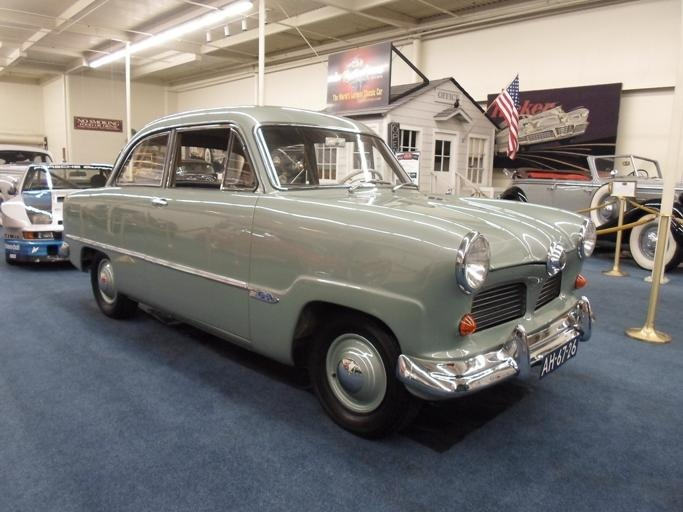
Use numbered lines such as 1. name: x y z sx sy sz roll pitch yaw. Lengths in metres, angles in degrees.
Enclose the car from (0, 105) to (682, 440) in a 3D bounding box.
1. car: -0.623 -0.170 3.551 4.221 1.624 1.797 8 10 41
